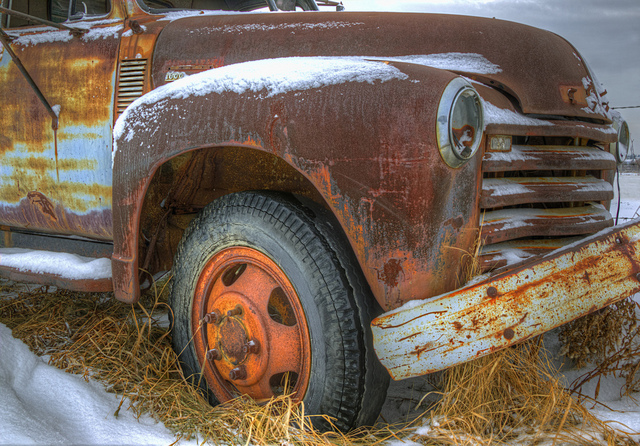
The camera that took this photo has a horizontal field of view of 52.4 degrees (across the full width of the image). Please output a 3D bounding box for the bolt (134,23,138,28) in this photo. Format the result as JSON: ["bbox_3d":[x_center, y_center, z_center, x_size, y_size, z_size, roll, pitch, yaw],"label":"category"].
[{"bbox_3d":[-1.033,-1.116,3.665,0.017,0.018,0.010,-4,16,-34],"label":"bolt"}]

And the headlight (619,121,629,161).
[{"bbox_3d":[1.811,-0.494,3.878,0.047,0.212,0.198,-5,-12,34],"label":"headlight"}]

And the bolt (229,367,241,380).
[{"bbox_3d":[-0.420,0.742,3.234,0.062,0.063,0.027,14,16,32],"label":"bolt"}]

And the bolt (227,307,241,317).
[{"bbox_3d":[-0.415,0.439,3.218,0.041,0.046,0.043,-14,-15,-22],"label":"bolt"}]

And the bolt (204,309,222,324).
[{"bbox_3d":[-0.535,0.466,3.271,0.083,0.074,0.040,1,14,-17],"label":"bolt"}]

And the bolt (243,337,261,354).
[{"bbox_3d":[-0.329,0.604,3.180,0.067,0.079,0.035,2,-6,19],"label":"bolt"}]

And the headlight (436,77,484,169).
[{"bbox_3d":[0.628,-0.452,2.922,0.251,0.396,0.125,-7,18,-41],"label":"headlight"}]
